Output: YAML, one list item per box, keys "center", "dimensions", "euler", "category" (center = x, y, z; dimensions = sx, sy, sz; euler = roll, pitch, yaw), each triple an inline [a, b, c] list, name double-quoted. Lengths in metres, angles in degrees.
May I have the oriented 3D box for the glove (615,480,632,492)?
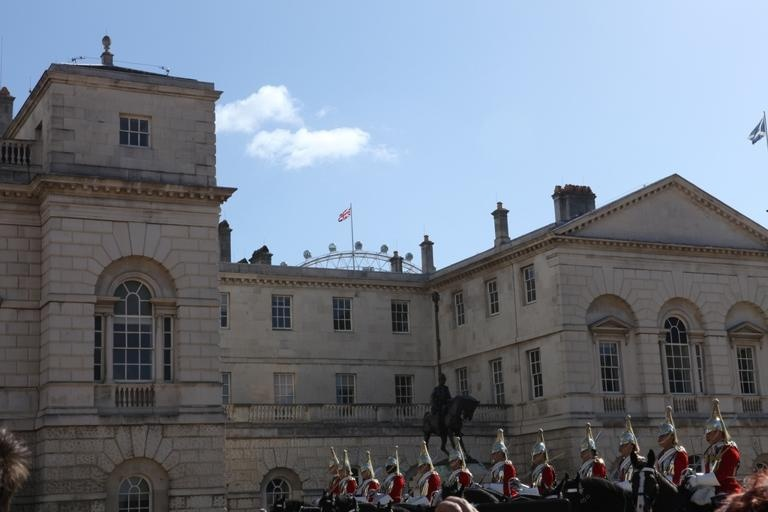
- center: [7.085, 6.779, 41.493]
  dimensions: [0.471, 0.335, 0.465]
  euler: [2, -13, 3]
  category: "glove"

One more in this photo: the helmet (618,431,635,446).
- center: [7.378, 5.504, 42.271]
  dimensions: [0.446, 0.346, 0.320]
  euler: [13, -32, -19]
  category: "helmet"

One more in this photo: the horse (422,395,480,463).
- center: [2.824, 7.338, 59.773]
  dimensions: [0.920, 2.665, 3.832]
  euler: [5, -14, -33]
  category: "horse"

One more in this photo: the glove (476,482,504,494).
- center: [3.438, 7.273, 43.845]
  dimensions: [0.531, 0.359, 0.283]
  euler: [2, -24, -2]
  category: "glove"
